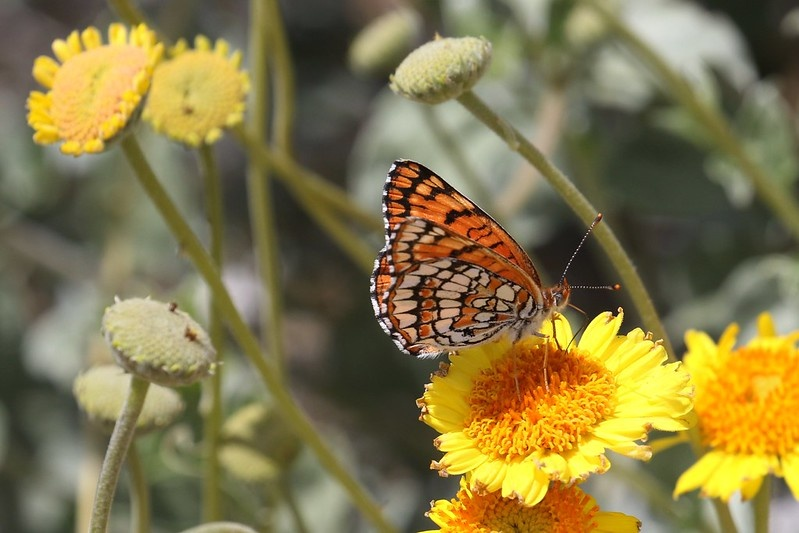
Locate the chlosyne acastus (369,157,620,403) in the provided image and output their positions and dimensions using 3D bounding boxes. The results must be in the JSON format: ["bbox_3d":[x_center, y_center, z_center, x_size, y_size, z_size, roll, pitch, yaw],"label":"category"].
[{"bbox_3d":[0.183,0.030,2.042,0.414,0.419,0.445,-1,-4,0],"label":"chlosyne acastus"}]

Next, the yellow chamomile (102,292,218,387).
[{"bbox_3d":[-0.427,0.137,1.721,0.160,0.092,0.168,30,27,-22],"label":"yellow chamomile"}]

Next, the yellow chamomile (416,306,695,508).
[{"bbox_3d":[0.287,0.252,1.816,0.498,0.331,0.089,-21,-22,4],"label":"yellow chamomile"}]

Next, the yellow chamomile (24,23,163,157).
[{"bbox_3d":[-0.555,-0.346,1.875,0.180,0.337,0.311,2,19,8],"label":"yellow chamomile"}]
